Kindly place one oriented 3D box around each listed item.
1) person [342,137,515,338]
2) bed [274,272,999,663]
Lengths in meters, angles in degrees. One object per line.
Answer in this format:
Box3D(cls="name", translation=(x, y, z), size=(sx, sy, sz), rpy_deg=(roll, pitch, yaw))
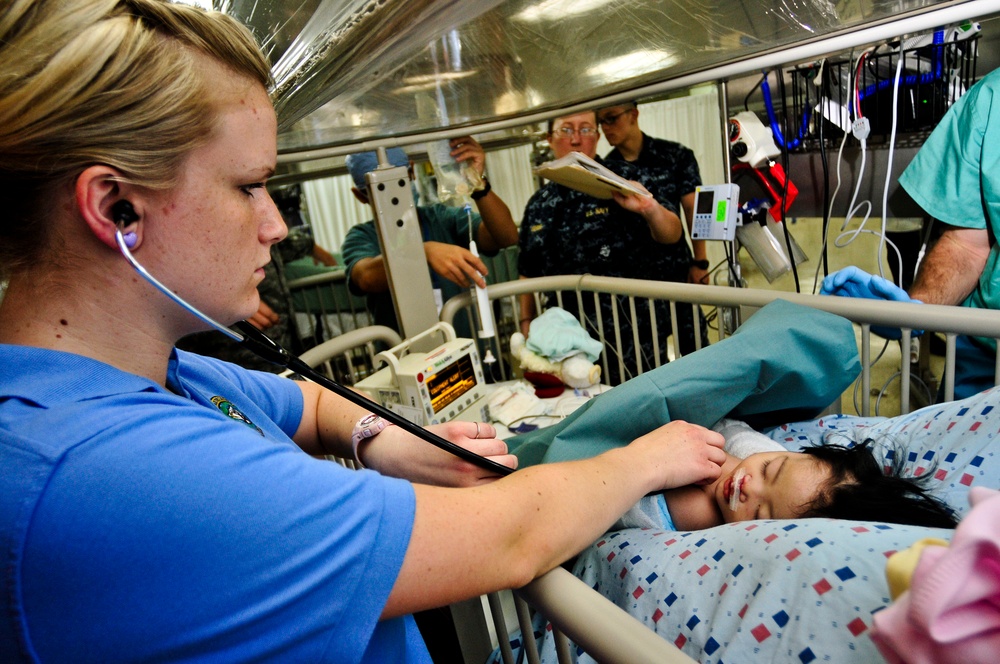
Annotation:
Box3D(cls="person", translation=(-0.272, -0.406, 3.194), size=(0.611, 0.801, 0.456), rpy_deg=(-20, 24, -21))
Box3D(cls="bed", translation=(0.331, 0.281, 1.535), size=(0.935, 0.460, 0.540), rpy_deg=(11, 17, 42))
